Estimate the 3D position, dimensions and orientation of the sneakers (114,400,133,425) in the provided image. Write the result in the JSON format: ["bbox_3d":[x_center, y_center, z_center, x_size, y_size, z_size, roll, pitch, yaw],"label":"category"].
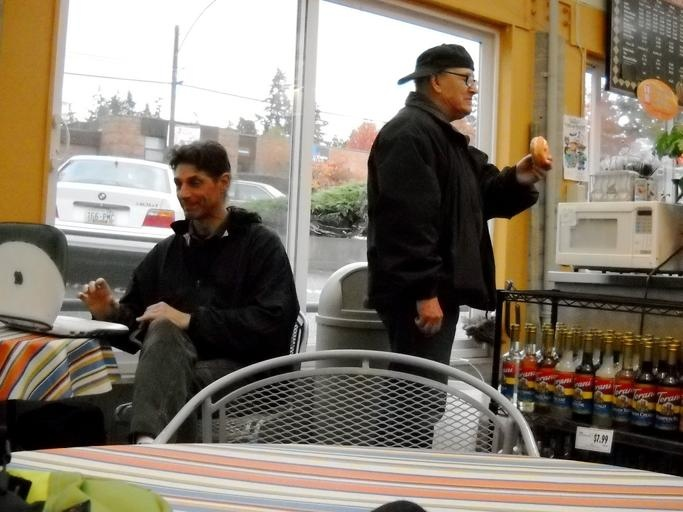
[{"bbox_3d":[-0.689,0.497,1.932,0.040,0.069,0.286,6,-7,-20],"label":"sneakers"}]

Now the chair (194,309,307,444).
[{"bbox_3d":[-0.227,0.347,1.763,0.311,0.474,0.255,3,-2,-18],"label":"chair"}]

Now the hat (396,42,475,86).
[{"bbox_3d":[0.387,-0.751,2.395,0.198,0.106,0.142,2,5,10],"label":"hat"}]

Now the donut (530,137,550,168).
[{"bbox_3d":[0.735,-0.402,2.275,0.038,0.116,0.116,-12,-22,29],"label":"donut"}]

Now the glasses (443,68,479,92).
[{"bbox_3d":[0.465,-0.694,2.376,0.100,0.030,0.101,9,4,33],"label":"glasses"}]
